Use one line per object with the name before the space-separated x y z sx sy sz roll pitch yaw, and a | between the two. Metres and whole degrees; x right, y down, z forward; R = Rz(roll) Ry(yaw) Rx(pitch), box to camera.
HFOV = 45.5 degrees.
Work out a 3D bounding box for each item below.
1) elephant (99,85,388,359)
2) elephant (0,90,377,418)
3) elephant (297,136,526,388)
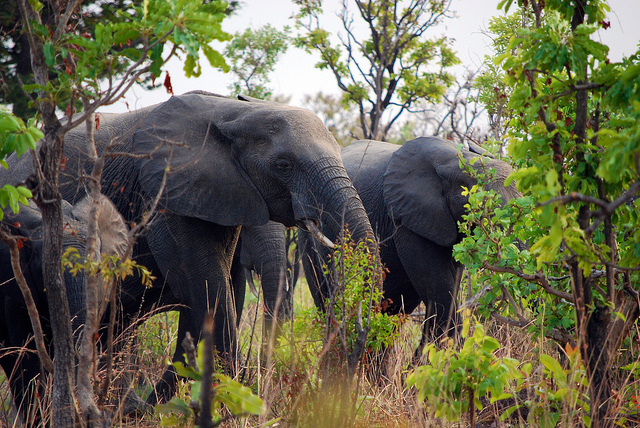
elephant | -1.408 0.223 8.056 4.233 2.732 2.006 -3 6 24
elephant | -0.955 0.212 7.802 4.563 3.005 2.100 -11 -12 18
elephant | 1.324 0.430 9.639 1.774 2.902 3.587 1 -5 -43
